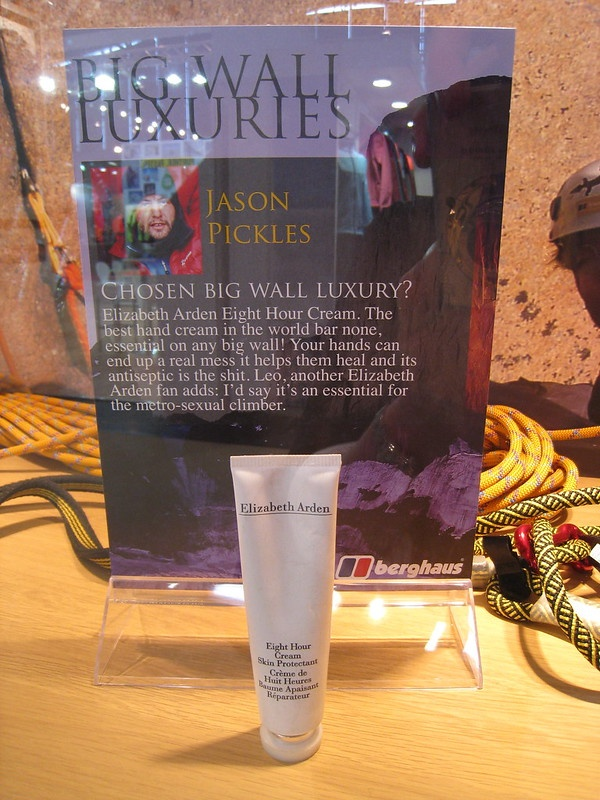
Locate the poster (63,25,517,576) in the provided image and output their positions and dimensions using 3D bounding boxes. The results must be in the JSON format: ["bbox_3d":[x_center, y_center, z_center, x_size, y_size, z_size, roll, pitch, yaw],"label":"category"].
[{"bbox_3d":[-0.011,-0.046,0.394,0.236,0.304,0.109,3,26,11],"label":"poster"}]

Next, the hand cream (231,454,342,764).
[{"bbox_3d":[-0.002,0.097,0.338,0.051,0.140,0.046,-5,26,-6],"label":"hand cream"}]
